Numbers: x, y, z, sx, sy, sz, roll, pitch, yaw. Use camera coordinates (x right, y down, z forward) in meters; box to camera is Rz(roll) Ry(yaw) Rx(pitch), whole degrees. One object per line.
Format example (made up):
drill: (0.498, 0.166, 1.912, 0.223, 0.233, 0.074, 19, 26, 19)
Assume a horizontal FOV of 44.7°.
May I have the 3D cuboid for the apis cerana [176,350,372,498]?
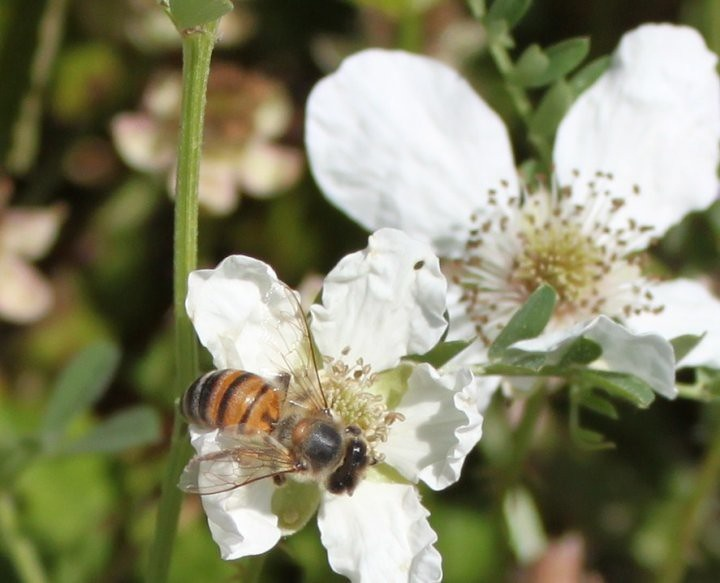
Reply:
apis cerana: (-0.112, 0.196, 1.211, 0.250, 0.147, 0.164, -3, 72, -1)
